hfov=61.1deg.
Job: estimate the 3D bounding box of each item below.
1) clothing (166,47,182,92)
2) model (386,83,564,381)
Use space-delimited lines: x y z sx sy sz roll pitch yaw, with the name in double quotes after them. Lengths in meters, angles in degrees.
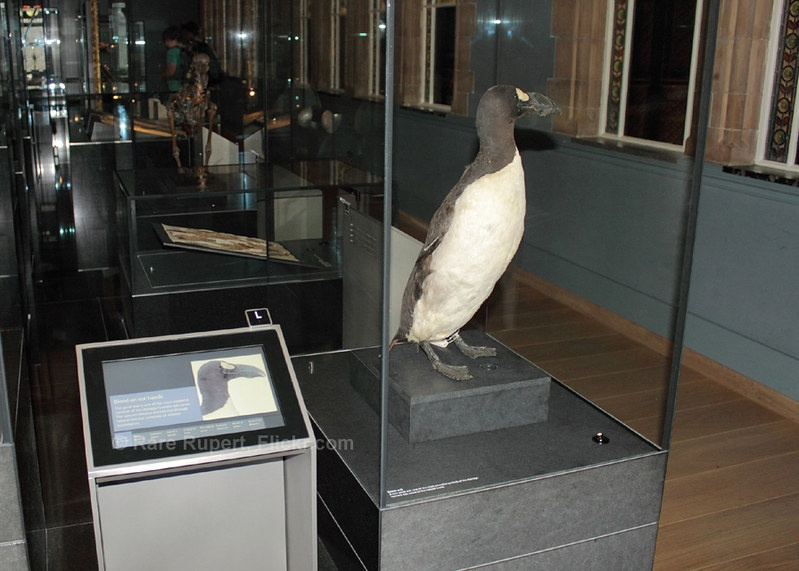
-0.766 -0.742 2.285 0.050 0.122 0.096 0 28 -12 "clothing"
0.230 -0.149 2.147 0.511 0.936 0.195 2 20 12 "model"
